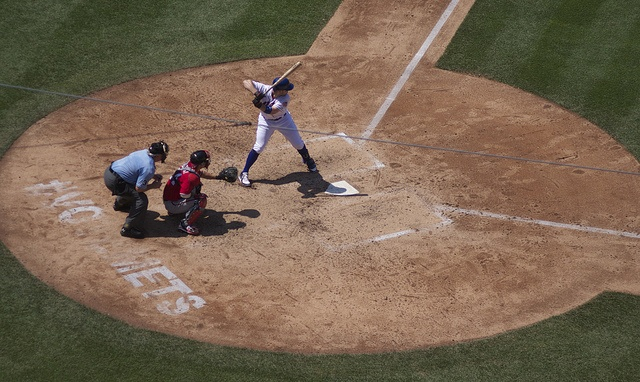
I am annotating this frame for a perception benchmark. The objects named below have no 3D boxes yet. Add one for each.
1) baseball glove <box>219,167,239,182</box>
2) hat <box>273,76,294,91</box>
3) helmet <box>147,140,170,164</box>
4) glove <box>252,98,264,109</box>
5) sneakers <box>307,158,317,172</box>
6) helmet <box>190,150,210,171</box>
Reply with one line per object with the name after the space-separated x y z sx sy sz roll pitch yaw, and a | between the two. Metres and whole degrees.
-2.466 -0.428 19.514 0.395 0.161 0.487 15 23 25 | baseball glove
-1.003 -2.898 19.609 0.540 0.243 0.307 -5 44 -8 | hat
-4.241 -1.074 18.758 0.484 0.549 0.638 37 45 27 | helmet
-1.693 -2.368 19.531 0.272 0.405 0.241 6 52 -8 | glove
-0.236 -0.740 20.539 0.269 0.139 0.379 -31 102 -16 | sneakers
-3.139 -0.784 18.973 0.612 0.479 0.379 -11 68 -10 | helmet
